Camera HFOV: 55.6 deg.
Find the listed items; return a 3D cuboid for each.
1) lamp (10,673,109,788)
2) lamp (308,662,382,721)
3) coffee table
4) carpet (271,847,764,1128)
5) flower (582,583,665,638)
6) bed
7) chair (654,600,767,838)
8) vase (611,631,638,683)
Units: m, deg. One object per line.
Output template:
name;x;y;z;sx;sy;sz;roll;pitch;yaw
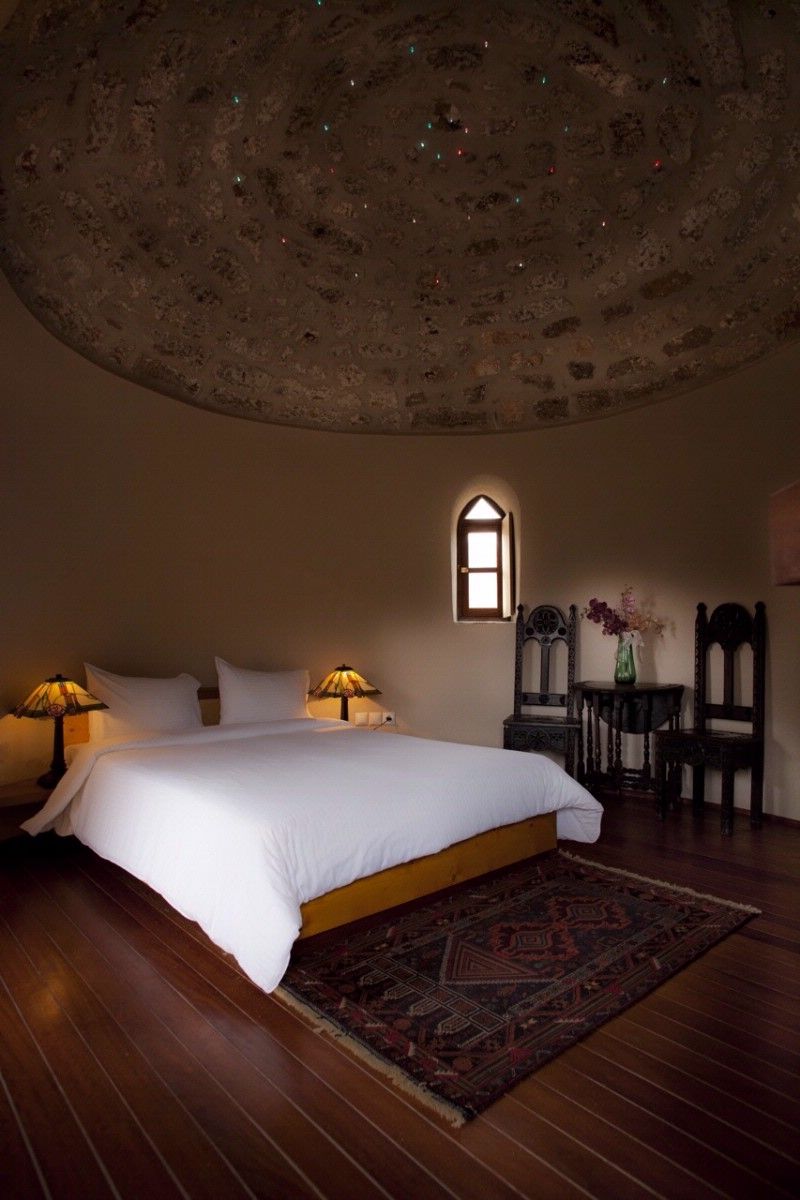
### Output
lamp;-1.660;0.631;3.844;0.514;0.579;0.506;5;-3;-37
lamp;-0.365;0.589;5.139;0.401;0.410;0.407;-1;0;10
coffee table;1.392;0.875;4.791;0.747;0.726;0.663;1;-4;-7
carpet;0.285;1.109;2.402;1.346;0.081;0.932;2;-3;-44
flower;1.427;0.062;4.885;0.433;0.210;0.274;5;6;-22
bed;-0.580;0.797;2.964;1.414;0.672;1.427;1;-6;-39
chair;1.733;0.603;4.233;0.571;1.189;0.456;1;-2;-43
vase;1.398;0.363;4.758;0.115;0.315;0.207;-1;-2;12
